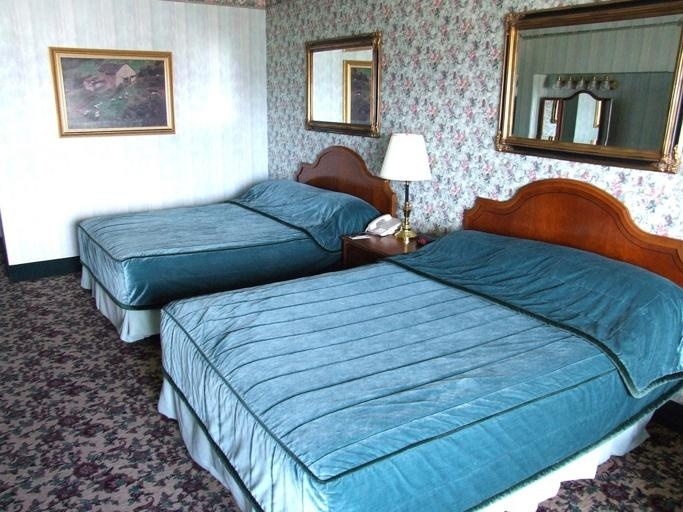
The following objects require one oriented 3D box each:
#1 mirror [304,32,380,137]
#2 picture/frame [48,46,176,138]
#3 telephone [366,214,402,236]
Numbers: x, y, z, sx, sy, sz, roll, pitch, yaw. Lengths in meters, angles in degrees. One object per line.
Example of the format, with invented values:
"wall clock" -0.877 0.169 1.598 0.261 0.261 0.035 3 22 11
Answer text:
"mirror" 0.023 -1.733 4.715 0.068 0.892 1.321 -15 21 -36
"picture/frame" -2.553 -1.801 5.109 1.339 0.786 0.052 -7 20 -25
"telephone" 0.373 -0.269 4.217 0.234 0.062 0.222 -27 33 -23
